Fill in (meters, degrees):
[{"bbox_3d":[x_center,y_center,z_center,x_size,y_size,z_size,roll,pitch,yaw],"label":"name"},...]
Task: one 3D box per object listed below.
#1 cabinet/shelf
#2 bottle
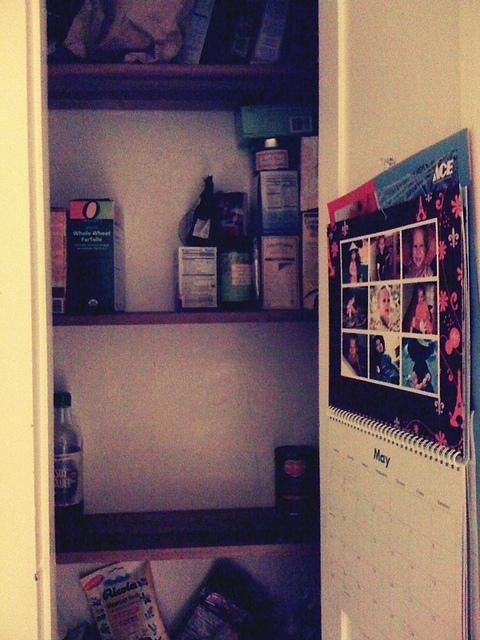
[{"bbox_3d":[-0.119,-0.026,1.312,0.609,0.932,0.308,0,-1,-2],"label":"cabinet/shelf"},{"bbox_3d":[-0.371,0.305,1.321,0.057,0.228,0.112,0,-1,-18],"label":"bottle"}]
